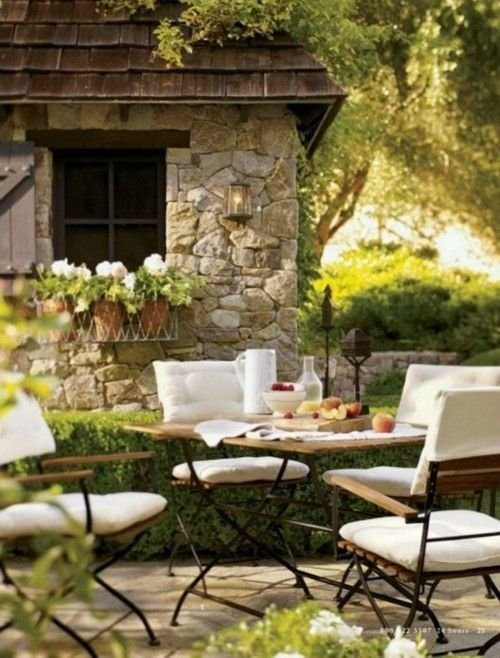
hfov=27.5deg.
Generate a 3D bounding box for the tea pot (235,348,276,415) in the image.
[{"bbox_3d":[0.037,0.234,4.695,0.189,0.295,0.175,1,4,0],"label":"tea pot"}]

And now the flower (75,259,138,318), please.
[{"bbox_3d":[-0.877,-0.251,6.258,0.367,0.300,0.176,0,4,-8],"label":"flower"}]

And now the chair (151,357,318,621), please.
[{"bbox_3d":[0.006,0.684,4.746,0.736,1.053,0.747,2,-5,-20],"label":"chair"}]

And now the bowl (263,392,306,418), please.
[{"bbox_3d":[0.162,0.321,4.444,0.130,0.082,0.129,-1,-3,0],"label":"bowl"}]

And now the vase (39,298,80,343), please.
[{"bbox_3d":[-0.871,-0.042,4.714,0.174,0.264,0.210,0,4,-6],"label":"vase"}]

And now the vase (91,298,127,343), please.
[{"bbox_3d":[-0.873,-0.063,6.268,0.244,0.225,0.235,0,-5,-17],"label":"vase"}]

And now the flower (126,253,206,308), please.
[{"bbox_3d":[-0.514,-0.292,6.420,0.366,0.335,0.499,2,4,17],"label":"flower"}]

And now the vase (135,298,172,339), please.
[{"bbox_3d":[-0.589,-0.069,6.339,0.242,0.220,0.231,0,-5,2],"label":"vase"}]

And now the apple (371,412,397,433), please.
[{"bbox_3d":[0.550,0.379,4.205,0.077,0.077,0.046,-13,-35,-21],"label":"apple"}]

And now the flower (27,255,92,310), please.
[{"bbox_3d":[-1.151,-0.266,6.311,0.372,0.251,0.366,-1,15,-27],"label":"flower"}]

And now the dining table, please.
[{"bbox_3d":[0.050,0.743,4.306,1.274,0.805,1.208,2,0,-30],"label":"dining table"}]
